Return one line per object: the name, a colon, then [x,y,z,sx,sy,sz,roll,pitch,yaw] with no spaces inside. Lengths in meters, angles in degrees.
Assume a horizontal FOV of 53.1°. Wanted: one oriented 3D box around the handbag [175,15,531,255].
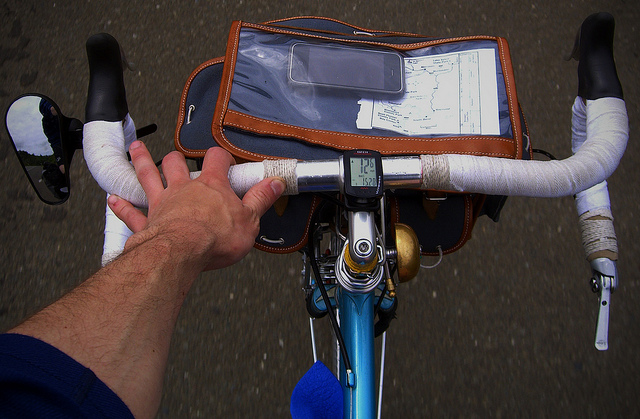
handbag: [0.175,-0.391,2.972,1.166,0.424,1.134,0,73,0]
